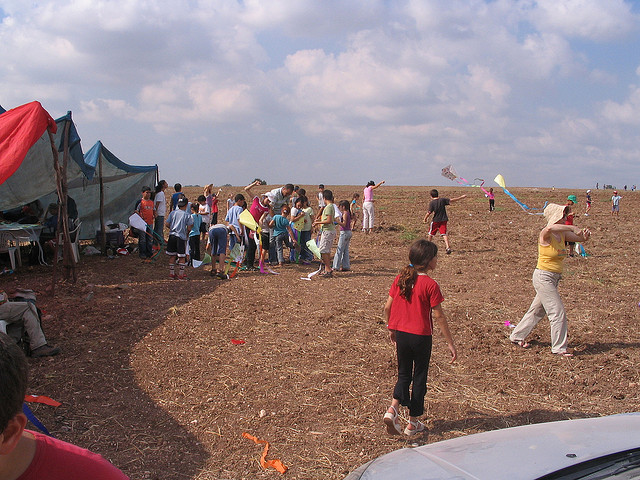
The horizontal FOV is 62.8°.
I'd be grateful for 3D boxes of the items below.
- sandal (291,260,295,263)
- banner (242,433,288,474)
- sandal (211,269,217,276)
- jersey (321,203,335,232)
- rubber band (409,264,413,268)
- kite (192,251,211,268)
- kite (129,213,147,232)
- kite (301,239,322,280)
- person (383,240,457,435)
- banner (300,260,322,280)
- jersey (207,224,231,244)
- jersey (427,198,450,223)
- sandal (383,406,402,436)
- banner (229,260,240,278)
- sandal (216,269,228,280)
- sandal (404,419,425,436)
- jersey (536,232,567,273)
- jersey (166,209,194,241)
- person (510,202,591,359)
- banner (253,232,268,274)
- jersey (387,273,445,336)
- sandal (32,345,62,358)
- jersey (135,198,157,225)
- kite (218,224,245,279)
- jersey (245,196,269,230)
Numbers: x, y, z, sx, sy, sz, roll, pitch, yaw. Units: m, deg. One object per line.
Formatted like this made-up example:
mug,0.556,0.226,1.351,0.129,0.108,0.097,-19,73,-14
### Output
sandal,-0.728,0.596,14.081,0.101,0.055,0.102,-1,-4,-3
banner,-0.614,2.368,5.888,0.239,0.187,0.730,-4,6,-34
sandal,-2.426,0.743,11.997,0.132,0.135,0.308,-1,5,-14
jersey,0.198,-0.489,11.855,0.274,0.614,0.431,0,5,2
rubber band,1.045,0.301,5.941,0.014,0.016,0.054,0,11,-22
kite,-3.052,0.524,13.498,0.364,0.292,1.047,0,5,4
kite,-4.589,-0.421,13.190,0.120,0.468,0.282,-13,31,48
kite,-0.269,0.381,12.344,0.223,0.739,0.731,3,36,-36
person,1.090,1.148,5.929,0.709,2.242,0.494,0,5,4
banner,-0.196,0.774,12.178,0.363,0.172,0.826,1,5,14
jersey,-2.257,-0.107,11.828,0.481,0.421,0.865,-1,5,-10
jersey,3.361,-0.797,14.647,0.522,0.659,0.457,1,5,10
sandal,0.848,2.053,5.908,0.158,0.434,0.194,-3,44,22
banner,-1.958,0.667,11.953,0.140,0.353,0.406,2,6,17
sandal,-2.186,0.775,11.715,0.178,0.201,0.262,-3,6,-32
sandal,1.088,2.154,6.059,0.305,0.132,0.113,-6,9,-43
jersey,3.450,0.167,7.719,0.413,0.558,0.323,7,-3,-33
jersey,-3.038,-0.311,11.437,0.639,0.675,0.297,9,18,10
person,3.451,0.584,7.828,0.964,2.205,0.709,2,6,24
banner,-1.461,0.418,12.705,0.184,1.224,0.230,-28,-23,29
jersey,1.059,0.717,5.951,0.709,0.694,0.383,8,13,33
sandal,-3.851,1.567,7.389,0.352,0.164,0.130,-4,6,-14
jersey,-4.576,-0.718,13.781,0.315,0.807,0.719,-5,0,41
kite,-2.026,0.274,12.024,0.249,1.055,1.012,21,46,-10
jersey,-1.489,-0.611,12.566,0.159,0.596,0.601,-30,21,49
